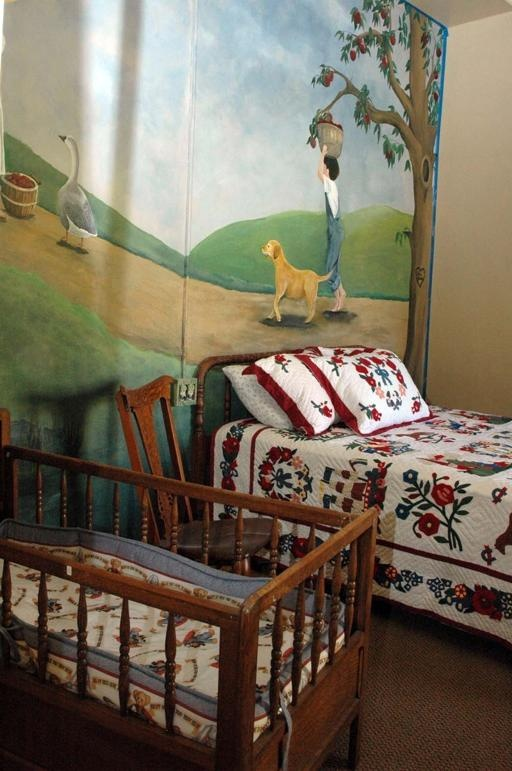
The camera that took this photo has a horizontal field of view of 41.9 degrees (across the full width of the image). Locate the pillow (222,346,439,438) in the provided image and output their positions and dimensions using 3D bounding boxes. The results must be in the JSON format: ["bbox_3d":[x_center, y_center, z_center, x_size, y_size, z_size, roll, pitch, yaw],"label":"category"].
[{"bbox_3d":[0.277,-0.007,2.810,0.614,0.401,0.763,6,6,38],"label":"pillow"}]

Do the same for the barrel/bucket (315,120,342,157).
[{"bbox_3d":[0.364,-1.200,3.223,0.158,0.137,0.142,2,4,-38],"label":"barrel/bucket"}]

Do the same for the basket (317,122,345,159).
[{"bbox_3d":[0.348,-1.187,3.263,0.159,0.143,0.145,0,6,-28],"label":"basket"}]
